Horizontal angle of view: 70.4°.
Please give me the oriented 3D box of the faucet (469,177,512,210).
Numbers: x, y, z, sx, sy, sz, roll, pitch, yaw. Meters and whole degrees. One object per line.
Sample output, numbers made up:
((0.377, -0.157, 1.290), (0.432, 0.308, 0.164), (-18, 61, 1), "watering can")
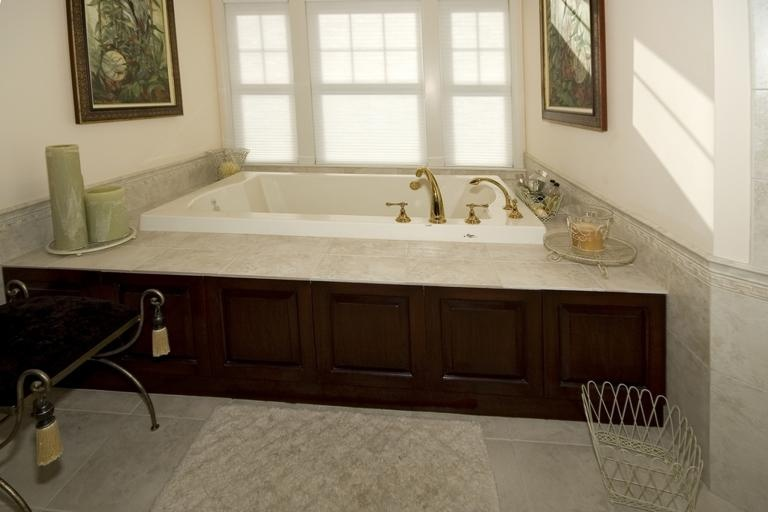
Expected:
((0.688, -0.375, 3.366), (0.293, 0.202, 0.117), (3, -11, 3), "faucet")

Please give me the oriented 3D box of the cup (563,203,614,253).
((1.019, -0.112, 2.691), (0.207, 0.176, 0.218), (2, 4, 0), "cup")
